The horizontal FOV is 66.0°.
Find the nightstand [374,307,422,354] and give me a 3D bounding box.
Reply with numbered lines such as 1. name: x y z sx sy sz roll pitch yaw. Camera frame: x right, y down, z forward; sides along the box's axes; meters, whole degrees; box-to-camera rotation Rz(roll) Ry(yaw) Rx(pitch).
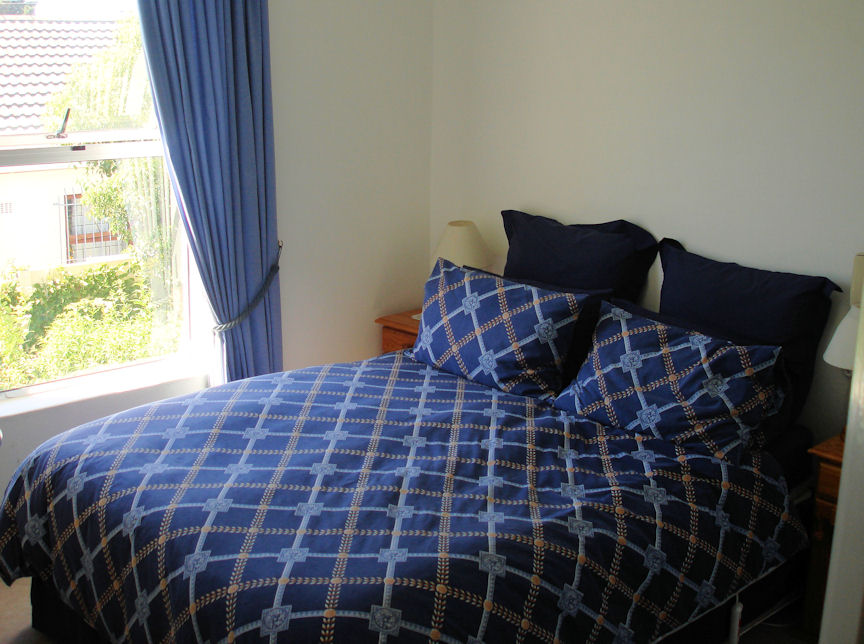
1. nightstand: -0.243 -0.032 3.923 0.241 0.264 0.270 -9 39 -29
